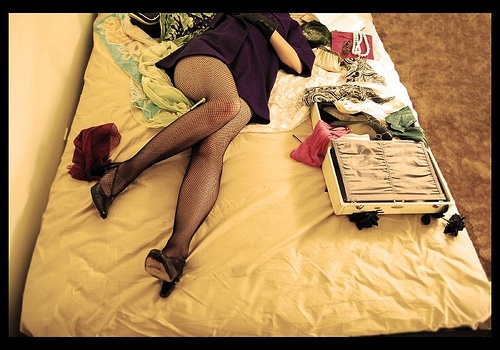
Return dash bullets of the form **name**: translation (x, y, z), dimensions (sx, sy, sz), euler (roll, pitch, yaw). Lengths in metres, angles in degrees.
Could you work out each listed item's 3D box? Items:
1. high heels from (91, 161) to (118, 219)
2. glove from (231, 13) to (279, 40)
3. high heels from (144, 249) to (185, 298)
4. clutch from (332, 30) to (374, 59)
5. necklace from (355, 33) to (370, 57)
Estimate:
- **high heels**: translation (-0.725, 0.087, 2.033), dimensions (0.193, 0.200, 0.203), euler (-6, 42, -8)
- **glove**: translation (0.041, -0.869, 2.331), dimensions (0.186, 0.066, 0.152), euler (25, 43, -16)
- **high heels**: translation (-0.379, 0.440, 1.846), dimensions (0.178, 0.214, 0.103), euler (-2, 30, -13)
- **clutch**: translation (0.658, -0.837, 2.621), dimensions (0.290, 0.013, 0.193), euler (4, 62, 2)
- **necklace**: translation (0.723, -0.834, 2.617), dimensions (0.102, 0.041, 0.176), euler (4, 67, -3)
